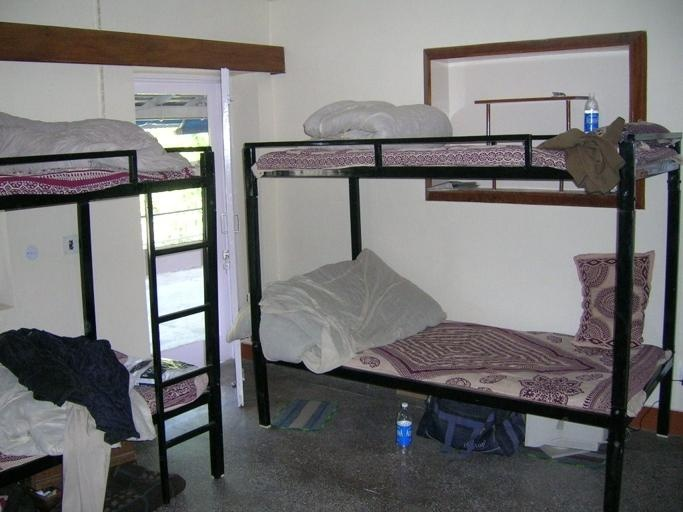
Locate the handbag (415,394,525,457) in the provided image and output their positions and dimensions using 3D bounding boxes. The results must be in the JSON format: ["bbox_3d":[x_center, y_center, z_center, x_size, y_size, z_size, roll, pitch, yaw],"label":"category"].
[{"bbox_3d":[1.017,1.208,4.404,0.728,0.395,0.709,7,1,26],"label":"handbag"}]

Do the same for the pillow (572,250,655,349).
[{"bbox_3d":[1.879,0.302,3.890,0.684,0.821,0.121,2,0,39],"label":"pillow"}]

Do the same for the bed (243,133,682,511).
[{"bbox_3d":[0.956,0.531,4.139,2.425,1.904,1.388,5,10,34],"label":"bed"}]
